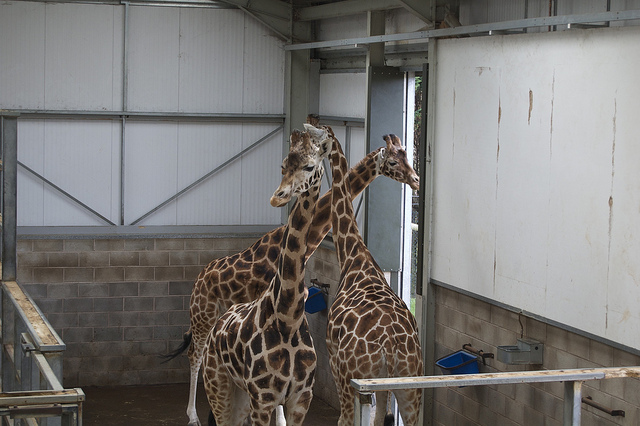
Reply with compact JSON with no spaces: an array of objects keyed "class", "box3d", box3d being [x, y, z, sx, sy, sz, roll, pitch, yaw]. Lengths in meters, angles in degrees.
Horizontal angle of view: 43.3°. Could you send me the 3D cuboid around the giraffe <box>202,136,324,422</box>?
[{"class":"giraffe","box3d":[-0.404,0.642,6.379,0.566,2.544,1.217,-7,9,-39]}]
